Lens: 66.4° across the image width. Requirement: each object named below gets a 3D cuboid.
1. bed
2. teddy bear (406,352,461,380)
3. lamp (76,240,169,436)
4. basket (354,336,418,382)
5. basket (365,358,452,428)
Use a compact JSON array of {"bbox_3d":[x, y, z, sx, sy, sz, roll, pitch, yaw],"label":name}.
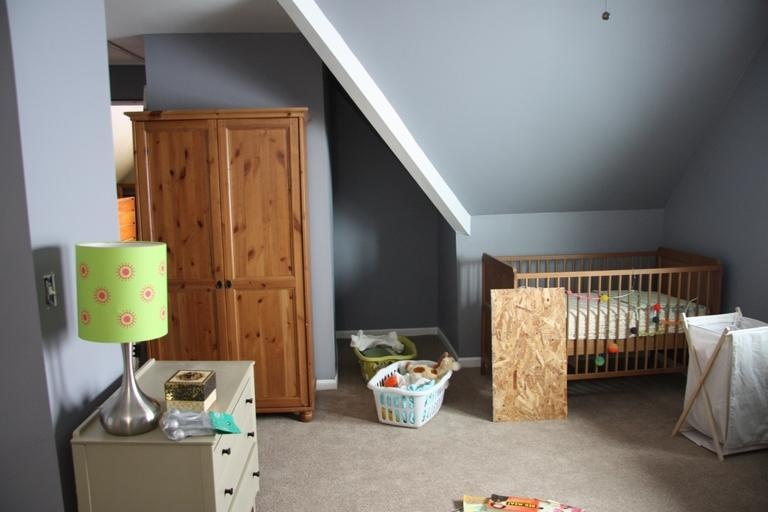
[{"bbox_3d":[1.683,0.475,4.929,1.637,1.178,1.014,0,4,-3],"label":"bed"},{"bbox_3d":[0.360,0.835,4.472,0.320,0.171,0.211,-6,-8,6],"label":"teddy bear"},{"bbox_3d":[-1.229,0.383,2.753,0.413,0.889,0.237,-3,7,-18],"label":"lamp"},{"bbox_3d":[-0.100,0.878,4.911,0.353,0.164,0.467,-7,11,-34],"label":"basket"},{"bbox_3d":[0.195,1.017,4.382,0.522,0.354,0.584,2,6,24],"label":"basket"}]
